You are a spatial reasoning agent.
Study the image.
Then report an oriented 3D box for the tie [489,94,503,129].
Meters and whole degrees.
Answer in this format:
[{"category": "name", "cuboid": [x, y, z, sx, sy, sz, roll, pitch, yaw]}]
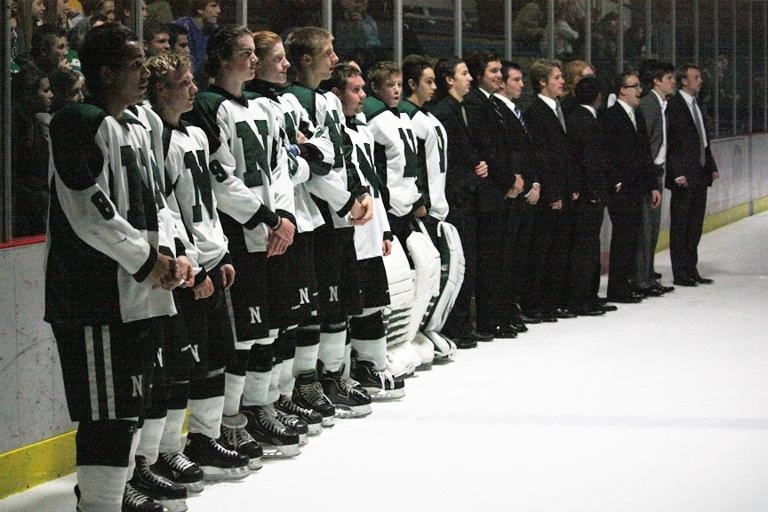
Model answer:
[{"category": "tie", "cuboid": [1.033, -1.315, 8.007, 0.088, 0.262, 0.200, -7, 17, 8]}]
